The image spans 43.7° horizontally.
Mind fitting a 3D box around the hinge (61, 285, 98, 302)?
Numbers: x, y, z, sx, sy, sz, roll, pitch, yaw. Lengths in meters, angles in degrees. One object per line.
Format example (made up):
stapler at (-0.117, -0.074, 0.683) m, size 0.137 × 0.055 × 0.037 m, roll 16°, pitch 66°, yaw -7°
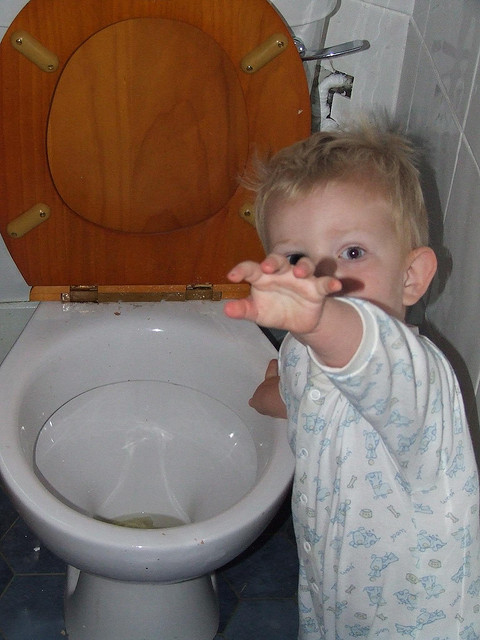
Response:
hinge at (-0.253, -0.039, 0.938) m, size 0.051 × 0.025 × 0.011 m, roll 0°, pitch 28°, yaw -9°
